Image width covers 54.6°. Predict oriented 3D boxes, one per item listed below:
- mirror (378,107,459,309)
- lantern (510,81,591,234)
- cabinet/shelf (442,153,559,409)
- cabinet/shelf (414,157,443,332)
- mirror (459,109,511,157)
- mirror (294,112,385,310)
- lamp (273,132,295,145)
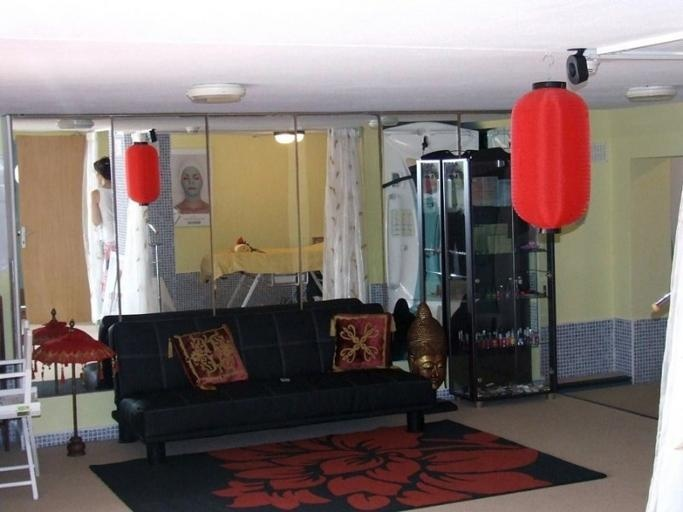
[{"bbox_3d":[0.673,-0.538,7.352,0.949,1.767,0.431,-2,5,-5],"label":"mirror"},{"bbox_3d":[1.026,-0.498,3.229,0.368,0.707,0.176,0,5,16],"label":"lantern"},{"bbox_3d":[1.534,0.165,6.707,1.021,2.366,0.477,-2,7,3],"label":"cabinet/shelf"},{"bbox_3d":[0.952,-0.092,6.970,0.218,1.349,0.093,-6,23,-7],"label":"cabinet/shelf"},{"bbox_3d":[1.528,-1.321,7.014,0.858,0.598,0.058,-1,0,-8],"label":"mirror"},{"bbox_3d":[0.036,-0.490,6.749,0.837,1.856,0.054,-3,5,-19],"label":"mirror"},{"bbox_3d":[-0.554,-1.151,6.513,0.140,0.075,0.136,1,5,24],"label":"lamp"}]
